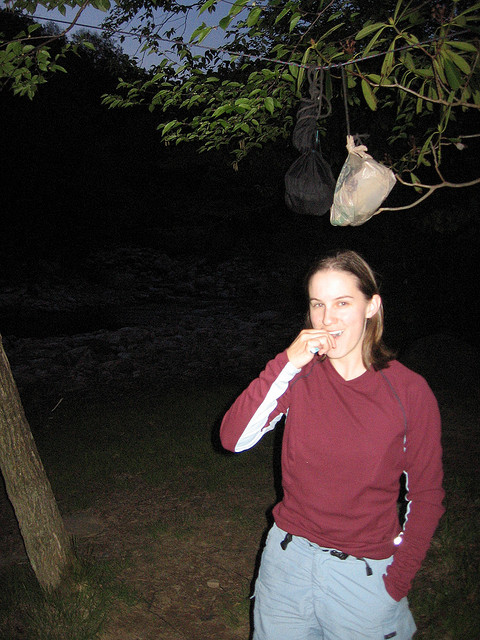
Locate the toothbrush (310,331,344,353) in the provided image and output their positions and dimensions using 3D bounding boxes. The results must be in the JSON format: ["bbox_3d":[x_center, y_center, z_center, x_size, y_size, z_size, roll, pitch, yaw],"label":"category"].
[{"bbox_3d":[0.327,0.085,2.010,0.144,0.068,0.027,-7,11,-33],"label":"toothbrush"}]

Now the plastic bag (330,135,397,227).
[{"bbox_3d":[0.638,-0.760,2.811,0.239,0.488,0.353,-7,11,-30],"label":"plastic bag"}]

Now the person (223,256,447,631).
[{"bbox_3d":[0.359,0.462,1.989,0.764,1.387,0.516,-2,10,-2],"label":"person"}]

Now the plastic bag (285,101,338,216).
[{"bbox_3d":[0.520,-1.103,3.905,0.356,0.593,0.727,0,9,4],"label":"plastic bag"}]
